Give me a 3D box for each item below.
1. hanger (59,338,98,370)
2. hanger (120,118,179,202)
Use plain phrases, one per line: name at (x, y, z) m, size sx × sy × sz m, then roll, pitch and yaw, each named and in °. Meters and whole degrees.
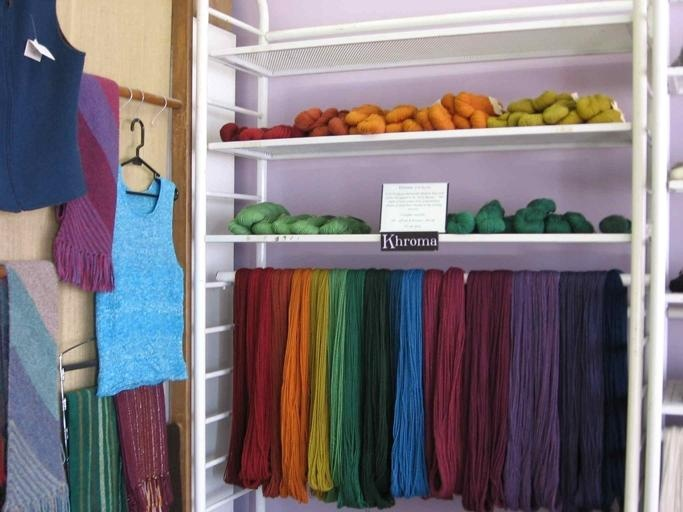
hanger at (-0.992, 0.374, 2.809) m, size 0.133 × 0.123 × 0.061 m, roll -2°, pitch 2°, yaw -28°
hanger at (-0.806, -0.394, 2.959) m, size 0.012 × 0.284 × 0.346 m, roll 7°, pitch 7°, yaw 21°
